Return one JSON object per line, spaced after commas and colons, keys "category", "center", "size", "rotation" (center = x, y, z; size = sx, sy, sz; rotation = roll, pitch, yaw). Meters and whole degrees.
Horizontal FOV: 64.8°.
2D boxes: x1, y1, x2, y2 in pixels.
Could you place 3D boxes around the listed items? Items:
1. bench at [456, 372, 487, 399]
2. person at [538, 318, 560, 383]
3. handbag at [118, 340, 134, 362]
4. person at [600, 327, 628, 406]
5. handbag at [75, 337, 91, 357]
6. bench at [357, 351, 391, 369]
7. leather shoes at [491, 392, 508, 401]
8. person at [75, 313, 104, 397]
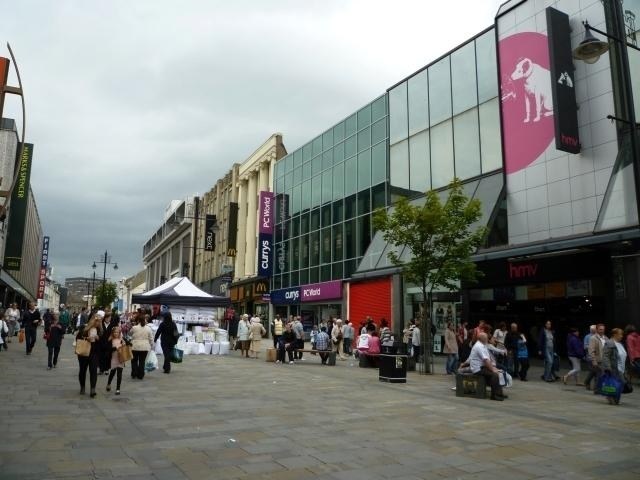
{"category": "bench", "center": [4.047, 3.907, 13.488], "size": [0.640, 0.536, 0.637], "rotation": [6, -8, -40]}
{"category": "person", "center": [8.043, 3.889, 17.760], "size": [0.484, 2.053, 1.551], "rotation": [-4, -11, 27]}
{"category": "handbag", "center": [-4.888, 2.852, 12.789], "size": [0.299, 0.495, 0.469], "rotation": [0, -10, 8]}
{"category": "person", "center": [7.431, 3.211, 12.846], "size": [0.523, 1.890, 1.026], "rotation": [-6, -12, 37]}
{"category": "handbag", "center": [-5.719, 2.598, 12.175], "size": [0.334, 0.451, 0.311], "rotation": [6, -11, -24]}
{"category": "bench", "center": [2.078, 4.625, 19.493], "size": [1.007, 0.495, 1.468], "rotation": [3, -8, -13]}
{"category": "leather shoes", "center": [4.705, 4.091, 13.225], "size": [0.487, 0.179, 0.260], "rotation": [9, -12, -34]}
{"category": "person", "center": [-5.694, 2.826, 12.353], "size": [0.585, 1.888, 1.102], "rotation": [6, -11, -24]}
